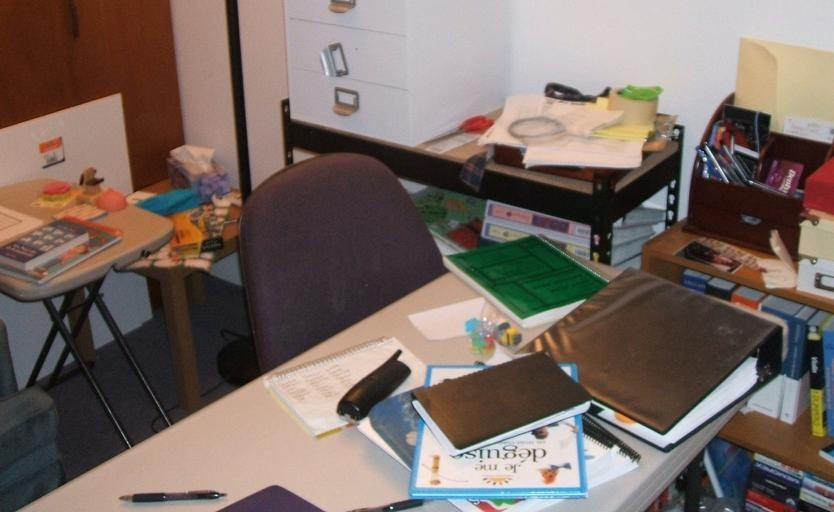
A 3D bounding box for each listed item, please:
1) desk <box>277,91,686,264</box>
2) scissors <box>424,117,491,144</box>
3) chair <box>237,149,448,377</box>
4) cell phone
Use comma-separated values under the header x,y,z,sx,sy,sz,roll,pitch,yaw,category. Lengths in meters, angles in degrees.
x,y,z,sx,sy,sz,roll,pitch,yaw,category
0.254,-0.289,2.290,1.174,0.818,0.643,21,31,27,desk
0.152,-0.490,2.435,0.290,0.083,0.067,-18,5,-18,scissors
-0.201,0.019,1.844,0.553,0.733,0.524,-26,36,-10,chair
-0.104,0.320,1.574,0.085,0.055,0.252,19,34,19,cell phone
